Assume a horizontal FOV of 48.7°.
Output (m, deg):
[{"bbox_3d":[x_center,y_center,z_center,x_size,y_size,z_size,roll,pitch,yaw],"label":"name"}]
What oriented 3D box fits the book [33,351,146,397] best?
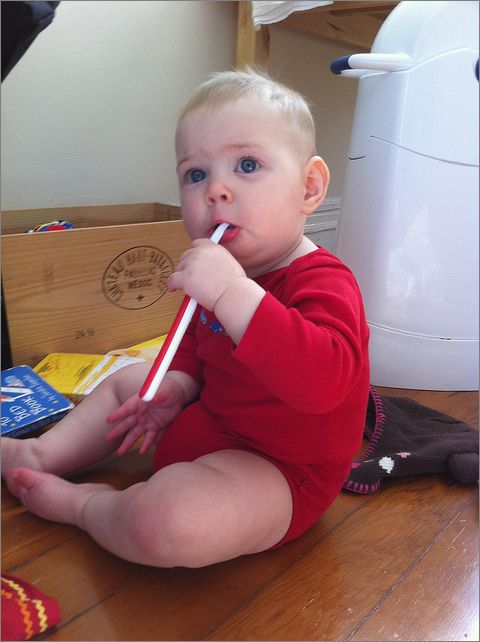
[{"bbox_3d":[-0.319,0.098,1.034,0.119,0.026,0.118,4,13,3],"label":"book"}]
